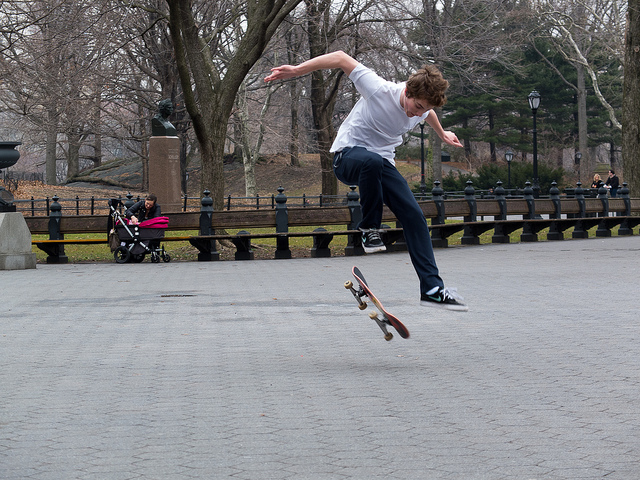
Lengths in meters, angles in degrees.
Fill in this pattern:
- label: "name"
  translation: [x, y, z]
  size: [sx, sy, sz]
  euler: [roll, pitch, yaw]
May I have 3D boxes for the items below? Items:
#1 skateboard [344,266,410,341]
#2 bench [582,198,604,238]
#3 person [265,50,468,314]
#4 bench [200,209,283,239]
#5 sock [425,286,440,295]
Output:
- label: "skateboard"
  translation: [0.569, 0.666, 10.656]
  size: [0.225, 0.304, 1.404]
  euler: [-32, 36, -21]
- label: "bench"
  translation: [7.009, -0.612, 25.655]
  size: [0.512, 1.005, 1.836]
  euler: [3, 13, 14]
- label: "person"
  translation: [0.673, -0.624, 10.611]
  size: [1.722, 2.716, 0.674]
  euler: [1, 16, 5]
- label: "bench"
  translation: [-1.467, -0.344, 19.482]
  size: [1.371, 0.481, 1.180]
  euler: [-1, 12, -3]
- label: "sock"
  translation: [1.208, 0.548, 10.661]
  size: [0.113, 0.091, 0.099]
  euler: [-15, -19, -34]
